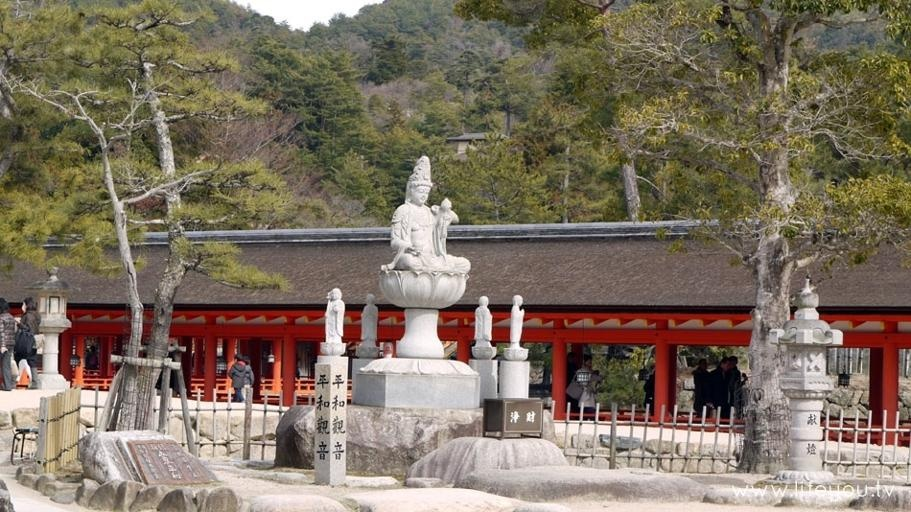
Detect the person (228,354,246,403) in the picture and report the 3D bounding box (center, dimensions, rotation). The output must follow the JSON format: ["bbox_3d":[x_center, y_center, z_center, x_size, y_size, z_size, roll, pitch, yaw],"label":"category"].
[{"bbox_3d":[-6.535,3.695,64.170,0.453,1.420,0.803,1,-7,-6],"label":"person"}]

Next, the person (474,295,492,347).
[{"bbox_3d":[0.801,1.794,57.894,0.413,1.376,0.637,1,-7,-4],"label":"person"}]

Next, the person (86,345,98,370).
[{"bbox_3d":[-12.362,3.495,72.932,0.419,0.912,1.987,2,-7,-10],"label":"person"}]

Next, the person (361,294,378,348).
[{"bbox_3d":[-2.338,1.810,58.493,0.423,1.478,0.625,1,-7,-4],"label":"person"}]

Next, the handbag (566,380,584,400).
[{"bbox_3d":[3.540,3.941,62.394,0.451,0.467,0.344,25,-25,7],"label":"handbag"}]

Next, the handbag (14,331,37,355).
[{"bbox_3d":[-12.495,2.544,62.049,0.729,0.682,0.377,4,-1,-37],"label":"handbag"}]

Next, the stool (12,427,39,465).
[{"bbox_3d":[-11.702,5.204,57.946,0.659,0.983,2.205,2,-7,-12],"label":"stool"}]
